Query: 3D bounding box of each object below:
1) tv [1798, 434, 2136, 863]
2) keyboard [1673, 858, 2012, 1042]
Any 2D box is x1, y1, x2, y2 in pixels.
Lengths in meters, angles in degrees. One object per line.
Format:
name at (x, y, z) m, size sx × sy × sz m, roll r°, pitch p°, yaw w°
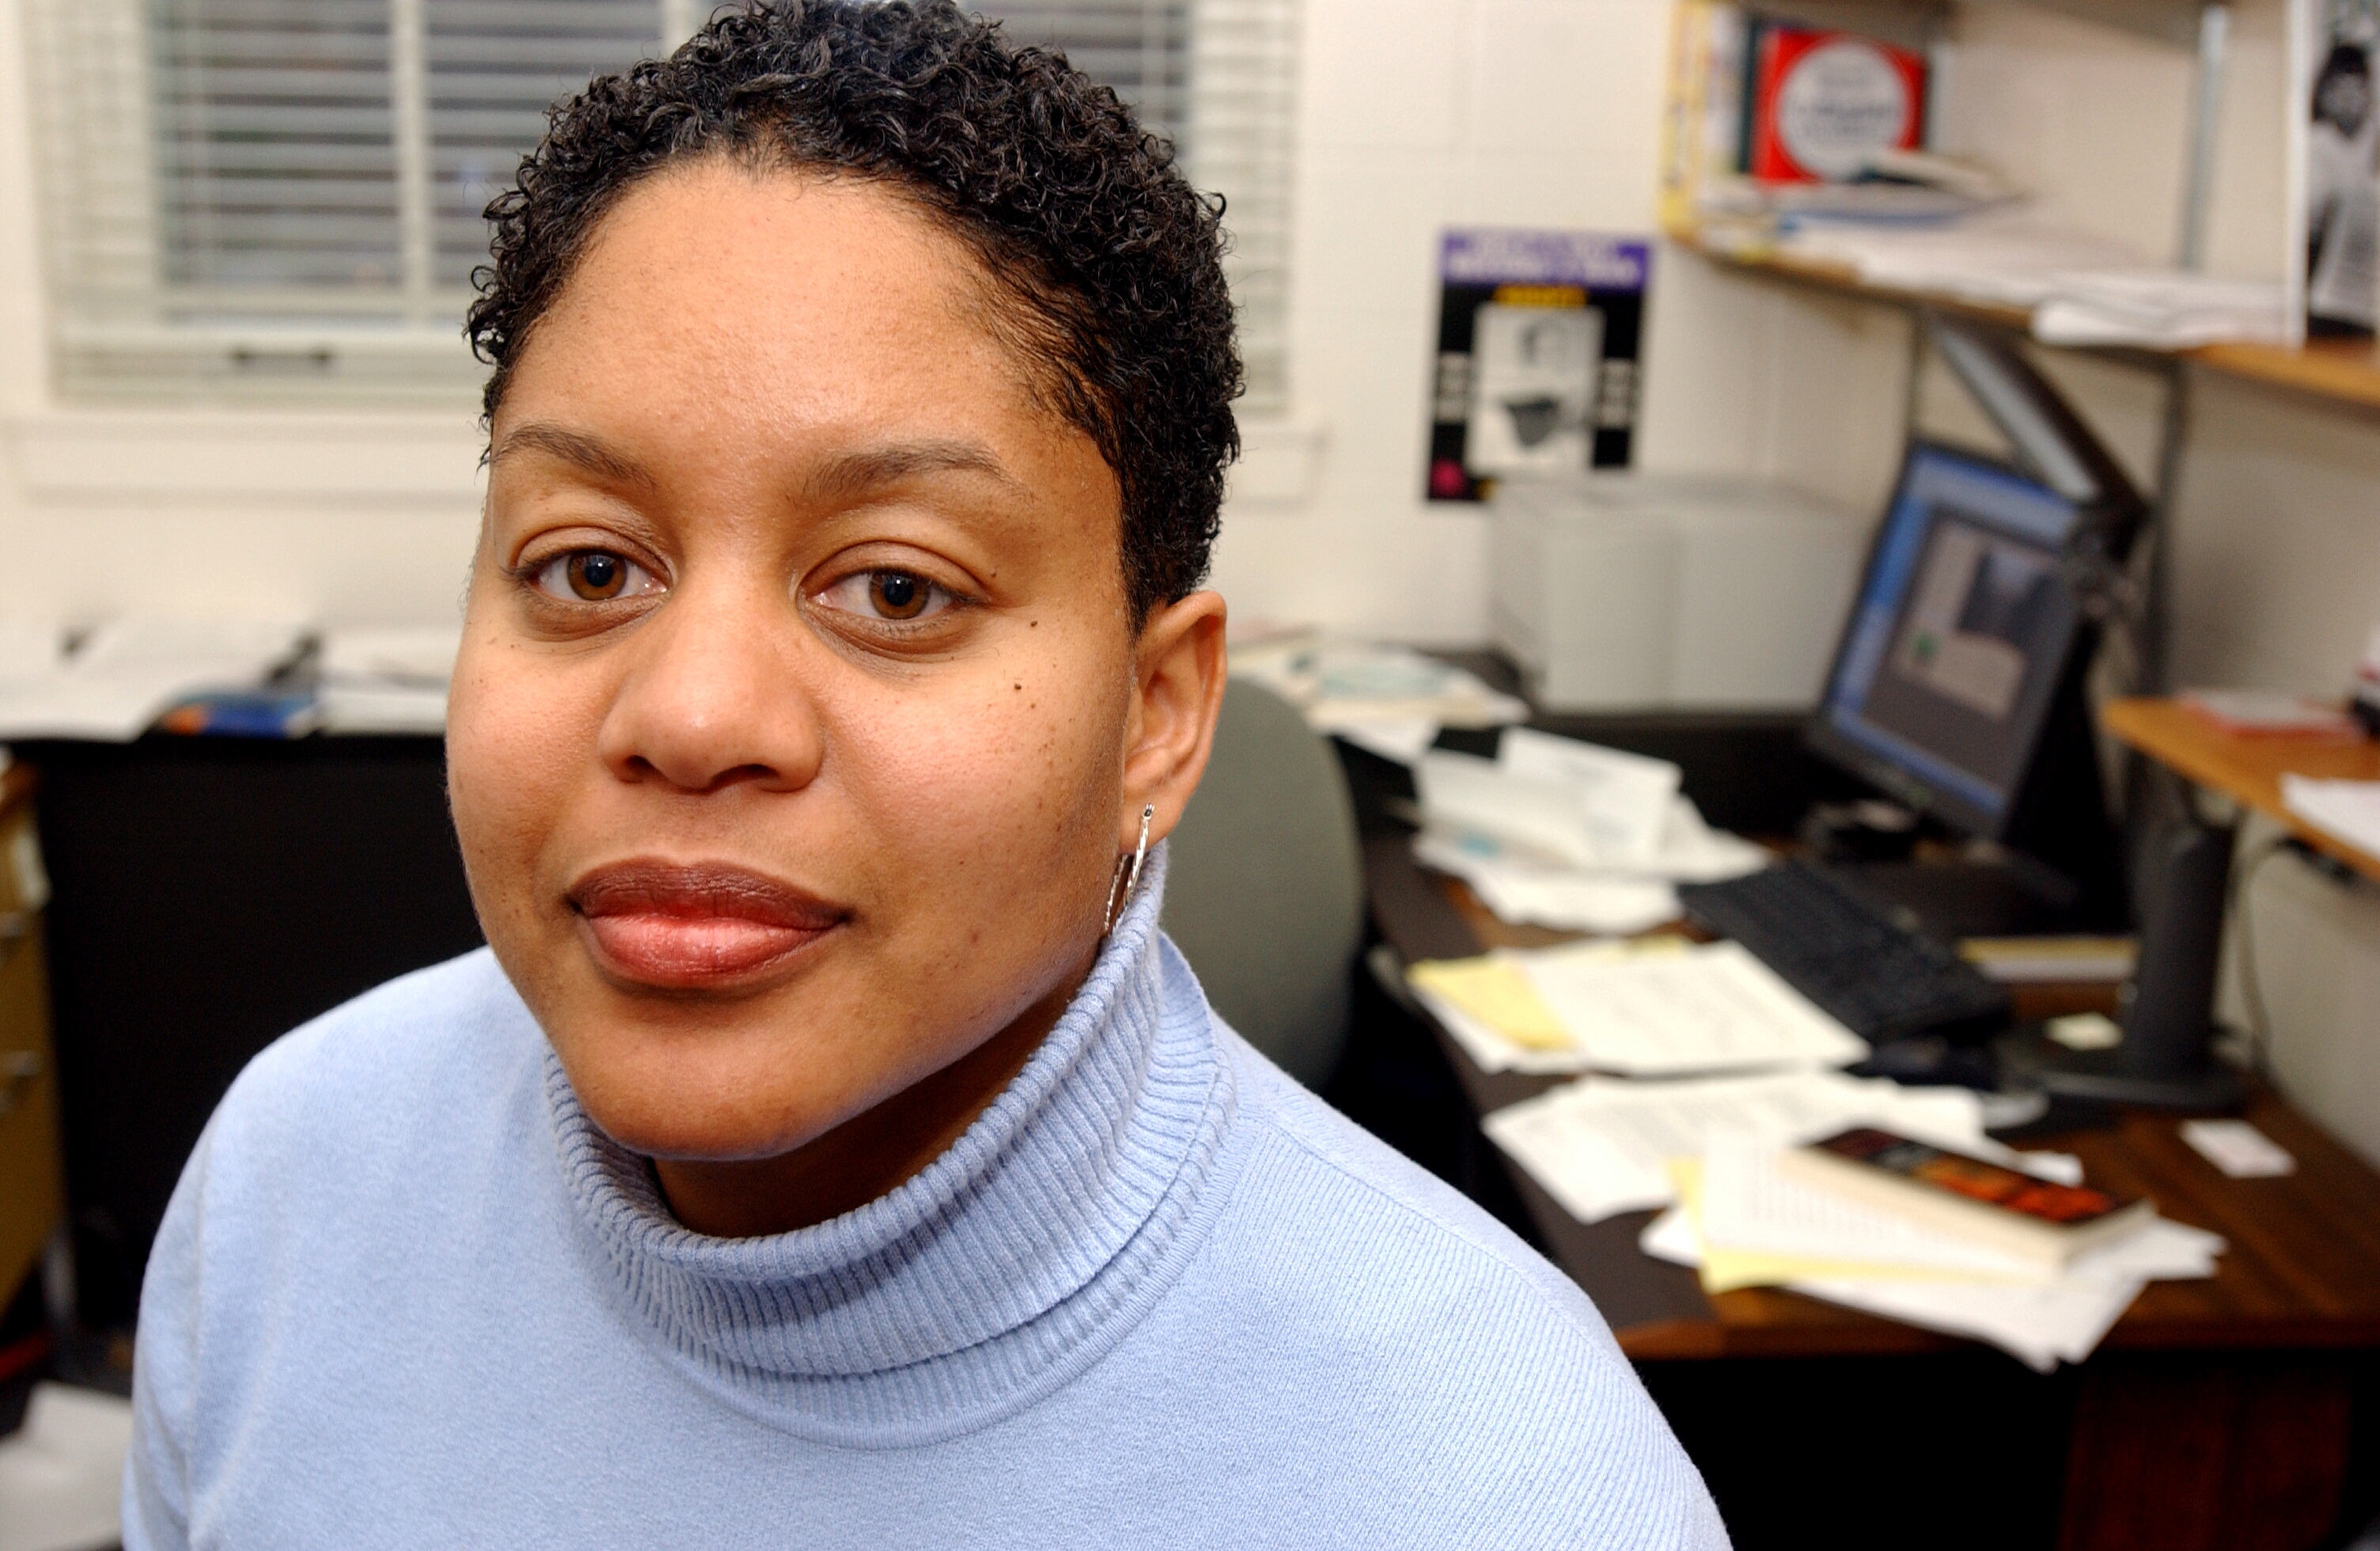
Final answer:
tv at (0.709, -0.127, 1.767) m, size 0.145 × 0.267 × 0.253 m, roll -12°, pitch 41°, yaw -26°
keyboard at (0.650, 0.176, 1.957) m, size 0.153 × 0.023 × 0.293 m, roll -18°, pitch 27°, yaw -10°
